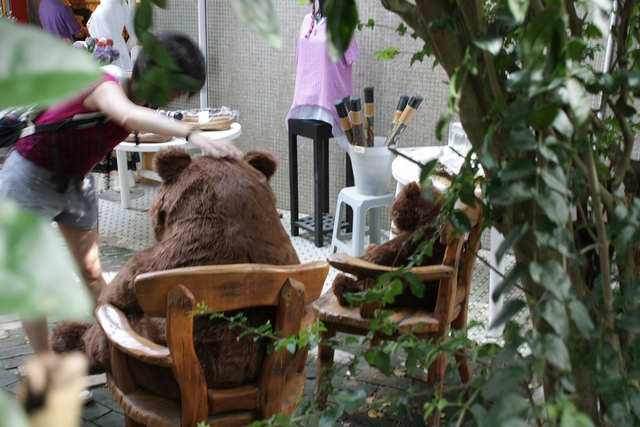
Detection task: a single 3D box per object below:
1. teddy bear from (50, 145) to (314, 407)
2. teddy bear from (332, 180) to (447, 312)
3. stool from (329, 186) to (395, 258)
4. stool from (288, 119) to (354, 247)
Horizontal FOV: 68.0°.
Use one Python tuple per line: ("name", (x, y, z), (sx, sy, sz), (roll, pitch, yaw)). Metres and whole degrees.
("teddy bear", (-0.593, 0.263, 2.034), (1.030, 1.039, 0.920), (-1, 0, -17))
("teddy bear", (0.380, 0.139, 2.437), (0.510, 0.693, 0.426), (4, 15, 26))
("stool", (0.346, 0.076, 3.938), (0.377, 0.562, 0.402), (-21, 34, -41))
("stool", (0.022, -0.297, 4.569), (0.595, 1.472, 0.616), (-14, 26, -32))
